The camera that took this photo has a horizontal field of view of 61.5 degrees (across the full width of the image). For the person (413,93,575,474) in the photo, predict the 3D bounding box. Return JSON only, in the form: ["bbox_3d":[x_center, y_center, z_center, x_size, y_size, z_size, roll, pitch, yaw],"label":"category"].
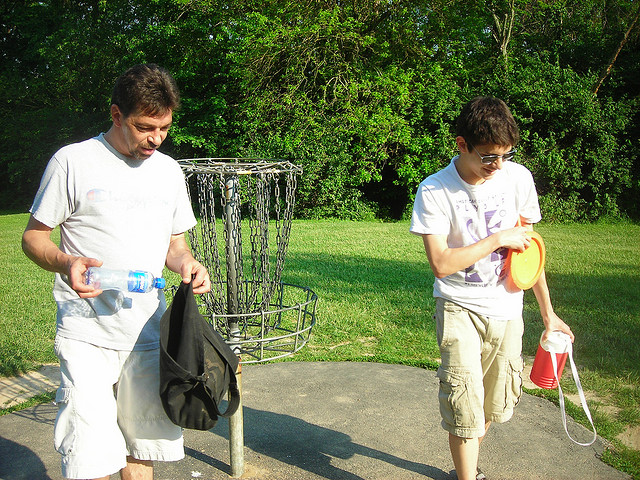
[{"bbox_3d":[1.006,0.266,3.368,0.896,2.264,0.437,-2,8,-27],"label":"person"}]

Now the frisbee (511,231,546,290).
[{"bbox_3d":[1.287,0.143,3.372,0.191,0.405,0.216,4,10,1],"label":"frisbee"}]

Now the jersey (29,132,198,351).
[{"bbox_3d":[-1.077,0.015,2.894,0.822,1.148,0.373,-2,8,-30],"label":"jersey"}]

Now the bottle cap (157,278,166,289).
[{"bbox_3d":[-0.842,0.231,2.862,0.038,0.057,0.051,4,-2,12],"label":"bottle cap"}]

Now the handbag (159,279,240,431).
[{"bbox_3d":[-0.678,0.569,3.083,0.440,0.813,0.837,2,5,-4],"label":"handbag"}]

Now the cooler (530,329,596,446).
[{"bbox_3d":[1.921,1.206,4.246,0.342,0.548,1.053,-7,33,4],"label":"cooler"}]

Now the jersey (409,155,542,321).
[{"bbox_3d":[0.983,-0.018,3.351,0.880,0.991,0.344,0,7,-19],"label":"jersey"}]
